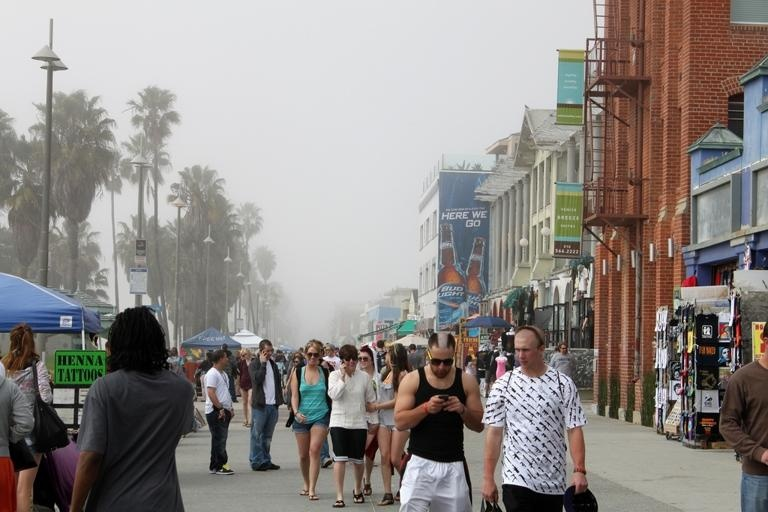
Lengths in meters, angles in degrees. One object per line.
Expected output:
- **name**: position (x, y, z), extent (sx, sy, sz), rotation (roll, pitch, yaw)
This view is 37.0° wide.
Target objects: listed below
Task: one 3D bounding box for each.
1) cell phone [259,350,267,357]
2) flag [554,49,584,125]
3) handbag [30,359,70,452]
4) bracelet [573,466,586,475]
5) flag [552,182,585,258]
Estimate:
- **cell phone**: position (-2.769, 2.223, 26.335), extent (0.122, 0.167, 0.147), rotation (22, -35, -17)
- **flag**: position (6.551, -6.047, 40.520), extent (1.140, 2.787, 0.094), rotation (2, 0, -1)
- **handbag**: position (-5.537, 2.596, 18.987), extent (0.417, 1.197, 0.400), rotation (-1, 1, -13)
- **bracelet**: position (2.764, 3.055, 16.284), extent (0.168, 0.067, 0.177), rotation (7, -9, 4)
- **flag**: position (6.594, -1.362, 41.634), extent (0.982, 2.627, 0.796), rotation (1, -1, -6)
